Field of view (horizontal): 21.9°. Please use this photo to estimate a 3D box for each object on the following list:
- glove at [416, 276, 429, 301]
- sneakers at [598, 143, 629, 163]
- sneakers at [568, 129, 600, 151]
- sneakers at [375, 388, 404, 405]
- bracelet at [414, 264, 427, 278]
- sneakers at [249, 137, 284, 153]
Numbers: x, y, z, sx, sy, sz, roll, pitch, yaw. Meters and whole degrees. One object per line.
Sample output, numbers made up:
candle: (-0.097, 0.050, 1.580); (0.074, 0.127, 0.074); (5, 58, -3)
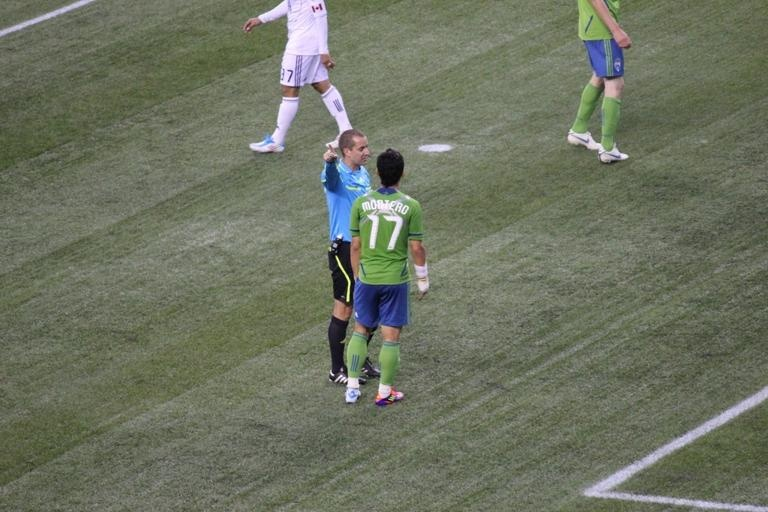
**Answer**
glove: (0.441, 0.425, 23.357); (0.098, 0.246, 0.197); (3, 16, -26)
sneakers: (2.905, -1.234, 25.447); (0.400, 0.183, 0.176); (-6, 29, -16)
sneakers: (2.507, -1.410, 25.645); (0.502, 0.220, 0.171); (17, 18, -8)
sneakers: (0.012, 1.679, 23.510); (0.391, 0.156, 0.127); (-10, 37, -16)
bracelet: (0.388, 0.221, 23.242); (0.144, 0.112, 0.129); (-5, 11, -21)
sneakers: (-1.569, -1.387, 26.149); (0.488, 0.205, 0.179); (2, 18, -2)
